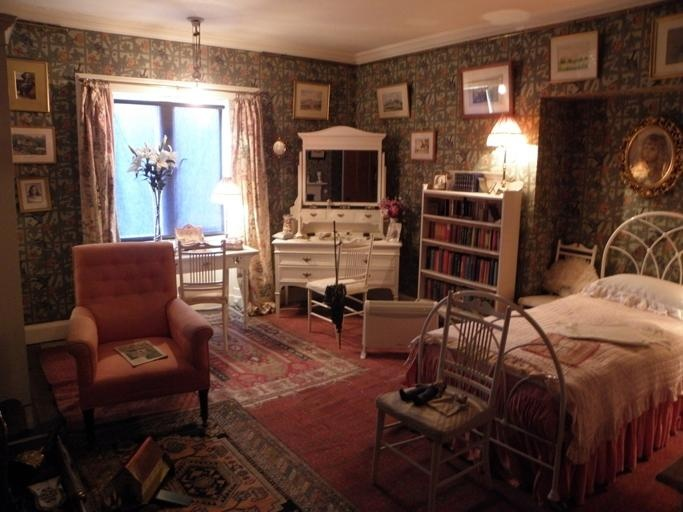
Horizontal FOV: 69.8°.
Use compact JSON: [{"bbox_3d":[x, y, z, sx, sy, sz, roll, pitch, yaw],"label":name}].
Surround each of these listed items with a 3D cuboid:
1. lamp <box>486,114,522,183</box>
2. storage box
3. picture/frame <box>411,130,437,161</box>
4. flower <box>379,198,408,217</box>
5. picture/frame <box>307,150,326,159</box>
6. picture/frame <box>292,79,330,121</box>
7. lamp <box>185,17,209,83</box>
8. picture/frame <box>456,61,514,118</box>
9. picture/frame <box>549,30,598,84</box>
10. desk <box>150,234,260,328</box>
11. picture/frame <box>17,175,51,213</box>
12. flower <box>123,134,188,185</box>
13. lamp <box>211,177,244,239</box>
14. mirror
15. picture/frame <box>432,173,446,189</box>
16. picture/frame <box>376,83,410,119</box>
[{"bbox_3d":[1.767,-1.166,5.349,0.355,0.688,0.376,5,12,38],"label":"lamp"},{"bbox_3d":[0.561,0.629,5.197,0.725,0.611,0.598,0,3,-1],"label":"storage box"},{"bbox_3d":[1.072,-1.443,6.372,0.029,0.350,0.396,-3,8,-37],"label":"picture/frame"},{"bbox_3d":[0.688,-0.635,6.527,0.243,0.270,0.260,-3,4,-44],"label":"flower"},{"bbox_3d":[-0.333,-1.354,6.563,0.219,0.128,0.042,-4,10,-9],"label":"picture/frame"},{"bbox_3d":[-0.442,-2.153,6.733,0.568,0.489,0.054,-3,10,-29],"label":"picture/frame"},{"bbox_3d":[-1.661,-2.350,5.681,0.163,0.588,0.644,-5,10,-17],"label":"lamp"},{"bbox_3d":[1.636,-1.891,5.548,0.071,0.658,0.759,-6,10,-34],"label":"picture/frame"},{"bbox_3d":[2.275,-1.954,4.802,0.055,0.521,0.542,-8,12,-37],"label":"picture/frame"},{"bbox_3d":[-1.536,0.111,5.963,1.358,1.337,0.950,-3,5,-31],"label":"desk"},{"bbox_3d":[-3.270,-0.669,5.212,0.373,0.487,0.050,-8,7,-36],"label":"picture/frame"},{"bbox_3d":[-2.180,-1.042,5.812,0.647,0.583,0.652,-8,8,-35],"label":"flower"},{"bbox_3d":[-1.445,-0.622,6.296,0.359,0.767,0.770,-4,10,-11],"label":"lamp"},{"bbox_3d":[-0.034,-1.173,6.599,1.100,1.118,0.150,0,7,-4],"label":"mirror"},{"bbox_3d":[1.202,-0.925,6.072,0.212,0.254,0.027,3,-14,41],"label":"picture/frame"},{"bbox_3d":[0.681,-2.091,6.670,0.046,0.430,0.555,-19,21,-40],"label":"picture/frame"}]
